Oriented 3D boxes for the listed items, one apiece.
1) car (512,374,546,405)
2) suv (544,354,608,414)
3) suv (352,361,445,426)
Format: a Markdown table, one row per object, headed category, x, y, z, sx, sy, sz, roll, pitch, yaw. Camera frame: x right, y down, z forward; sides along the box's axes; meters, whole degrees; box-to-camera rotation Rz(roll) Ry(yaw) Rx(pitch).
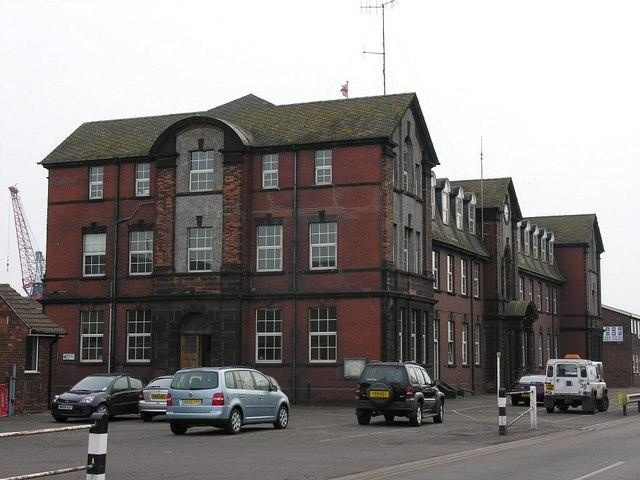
| category | x | y | z | sx | sy | sz | roll | pitch | yaw |
| --- | --- | --- | --- | --- | --- | --- | --- | --- | --- |
| car | 10.505 | 7.282 | 55.469 | 1.408 | 1.276 | 3.046 | -4 | -11 | 23 |
| suv | 11.975 | 6.503 | 51.541 | 1.948 | 2.069 | 3.427 | -2 | -4 | 27 |
| suv | 3.275 | 5.637 | 42.449 | 1.788 | 1.568 | 3.571 | -2 | -4 | 26 |
